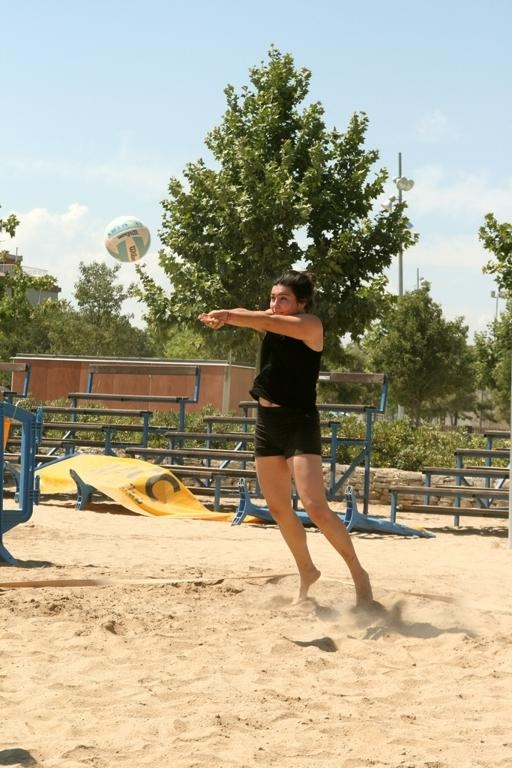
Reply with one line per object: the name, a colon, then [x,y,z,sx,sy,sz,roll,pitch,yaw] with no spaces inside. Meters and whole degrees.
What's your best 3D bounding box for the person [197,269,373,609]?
person: [0.172,0.244,4.277,0.796,1.521,0.785,1,0,-1]
